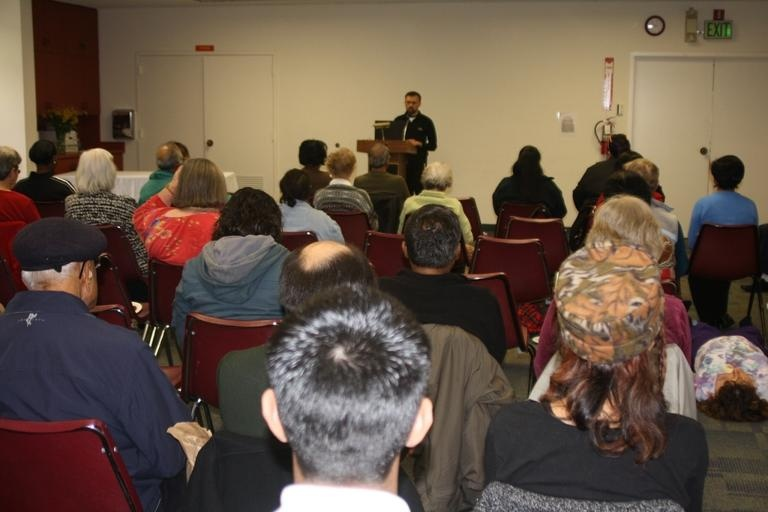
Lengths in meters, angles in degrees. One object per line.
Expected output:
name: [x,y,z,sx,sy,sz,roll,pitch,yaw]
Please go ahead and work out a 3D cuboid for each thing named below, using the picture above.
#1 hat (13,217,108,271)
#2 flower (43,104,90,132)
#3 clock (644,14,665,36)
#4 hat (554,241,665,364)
hat: [-1.179,-0.056,2.118,0.203,0.124,0.240,13,23,22]
flower: [-4.743,-2.001,8.586,0.589,0.445,0.580,21,16,30]
clock: [4.139,-3.469,8.732,0.307,0.311,0.033,0,9,3]
hat: [0.609,0.132,1.573,0.257,0.342,0.169,0,-22,21]
